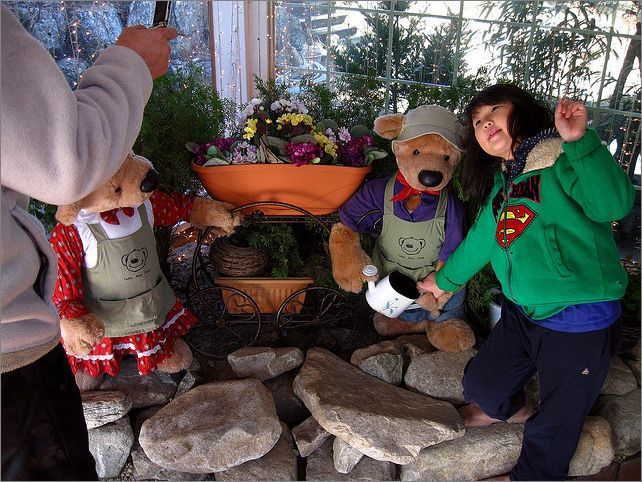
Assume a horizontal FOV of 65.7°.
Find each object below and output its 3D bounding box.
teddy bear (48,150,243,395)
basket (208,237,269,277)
[{"bbox_3d":[-0.859,0.078,2.313,0.543,1.115,0.875,20,26,38],"label":"teddy bear"},{"bbox_3d":[-0.471,0.083,2.778,0.298,0.170,0.309,15,14,24],"label":"basket"}]
